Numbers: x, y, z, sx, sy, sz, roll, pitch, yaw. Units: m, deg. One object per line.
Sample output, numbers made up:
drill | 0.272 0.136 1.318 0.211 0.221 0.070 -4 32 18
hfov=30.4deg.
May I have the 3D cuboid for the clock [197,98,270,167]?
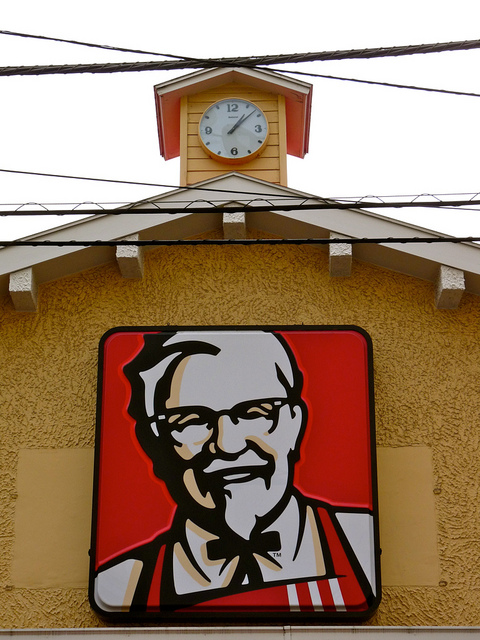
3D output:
clock | -0.113 -2.571 12.345 1.251 0.169 1.235 1 60 0
